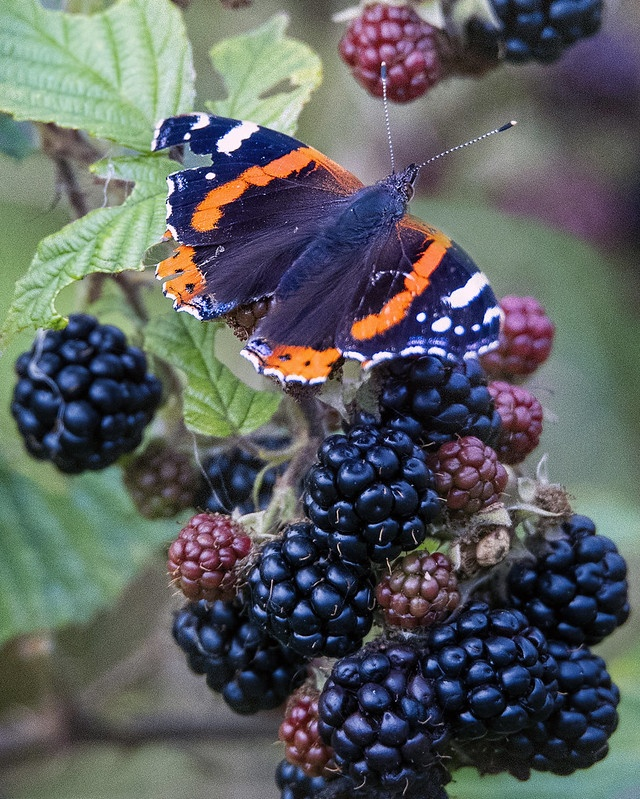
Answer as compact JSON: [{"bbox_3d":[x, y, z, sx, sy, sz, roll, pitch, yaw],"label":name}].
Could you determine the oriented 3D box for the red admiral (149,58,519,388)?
[{"bbox_3d":[0.008,-0.186,1.159,0.452,0.109,0.368,29,66,14],"label":"red admiral"}]
